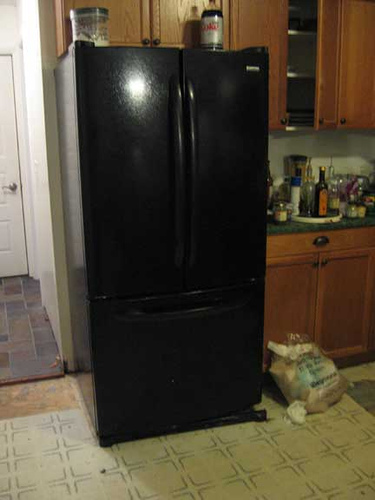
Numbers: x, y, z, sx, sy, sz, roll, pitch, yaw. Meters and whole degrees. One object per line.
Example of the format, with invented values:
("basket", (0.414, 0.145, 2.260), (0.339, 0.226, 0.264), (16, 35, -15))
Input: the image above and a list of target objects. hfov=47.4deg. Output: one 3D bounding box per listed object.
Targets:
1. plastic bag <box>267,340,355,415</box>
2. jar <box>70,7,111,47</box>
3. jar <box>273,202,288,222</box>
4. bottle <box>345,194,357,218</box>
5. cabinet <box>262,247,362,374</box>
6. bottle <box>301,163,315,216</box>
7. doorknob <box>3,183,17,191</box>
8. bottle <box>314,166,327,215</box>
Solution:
("plastic bag", (0.615, 0.584, 2.243), (0.365, 0.324, 0.334), (1, 14, -9))
("jar", (-0.373, -0.856, 1.652), (0.145, 0.151, 0.133), (0, 10, 0))
("jar", (0.475, -0.199, 2.202), (0.074, 0.162, 0.081), (-3, 8, 0))
("bottle", (0.935, -0.235, 2.450), (0.065, 0.083, 0.162), (3, 11, 21))
("cabinet", (0.603, 0.214, 2.620), (0.731, 0.811, 0.471), (-5, 12, -19))
("bottle", (0.699, -0.350, 2.479), (0.076, 0.270, 0.322), (2, 10, 15))
("doorknob", (-1.679, -0.597, 4.049), (0.053, 0.059, 0.092), (14, 14, 25))
("bottle", (0.731, -0.319, 2.323), (0.049, 0.254, 0.074), (8, 12, 44))
